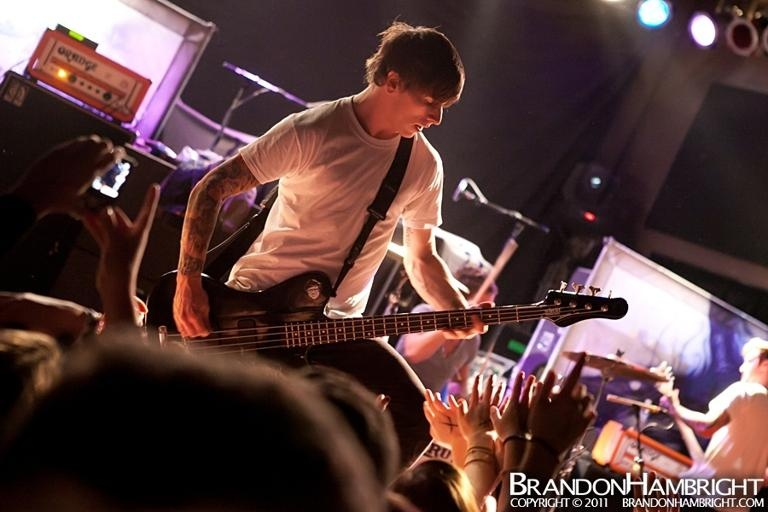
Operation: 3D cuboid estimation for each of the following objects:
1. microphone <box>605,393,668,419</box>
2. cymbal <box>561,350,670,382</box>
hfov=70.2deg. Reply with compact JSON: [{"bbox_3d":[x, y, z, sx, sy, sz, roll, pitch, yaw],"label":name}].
[{"bbox_3d":[2.515,1.497,5.438,0.885,0.114,0.115,13,-21,-13],"label":"microphone"},{"bbox_3d":[2.064,0.943,4.800,0.767,0.117,0.759,23,-11,-35],"label":"cymbal"}]
